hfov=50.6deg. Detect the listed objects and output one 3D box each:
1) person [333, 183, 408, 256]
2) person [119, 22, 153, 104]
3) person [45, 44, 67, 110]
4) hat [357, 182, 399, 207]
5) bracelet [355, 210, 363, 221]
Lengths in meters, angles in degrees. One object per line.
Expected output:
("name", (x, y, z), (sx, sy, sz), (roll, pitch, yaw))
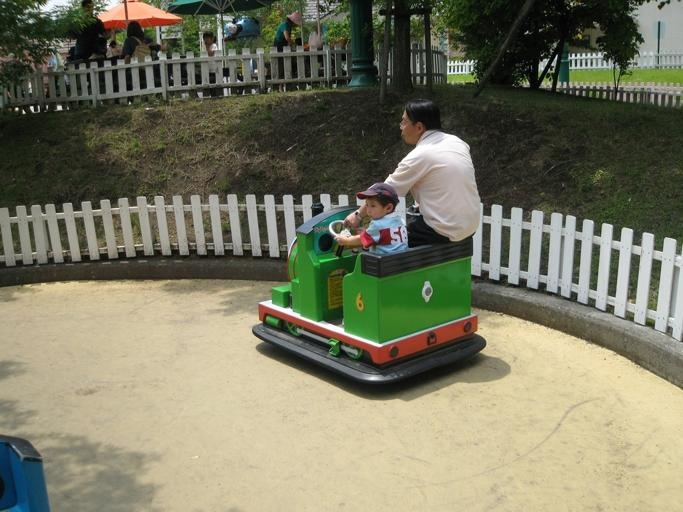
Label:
("person", (0.263, -0.330, 7.649), (0.780, 0.941, 0.655), (-7, 11, -15))
("person", (-4.484, -4.456, 15.952), (0.678, 1.463, 2.464), (-6, 16, -16))
("person", (-6.016, -3.858, 15.450), (0.300, 1.047, 0.276), (17, 11, 37))
("hat", (0.399, -0.646, 7.460), (0.307, 0.203, 0.238), (7, 3, -1))
("bracelet", (0.191, -0.445, 7.685), (0.030, 0.095, 0.064), (0, 14, 43))
